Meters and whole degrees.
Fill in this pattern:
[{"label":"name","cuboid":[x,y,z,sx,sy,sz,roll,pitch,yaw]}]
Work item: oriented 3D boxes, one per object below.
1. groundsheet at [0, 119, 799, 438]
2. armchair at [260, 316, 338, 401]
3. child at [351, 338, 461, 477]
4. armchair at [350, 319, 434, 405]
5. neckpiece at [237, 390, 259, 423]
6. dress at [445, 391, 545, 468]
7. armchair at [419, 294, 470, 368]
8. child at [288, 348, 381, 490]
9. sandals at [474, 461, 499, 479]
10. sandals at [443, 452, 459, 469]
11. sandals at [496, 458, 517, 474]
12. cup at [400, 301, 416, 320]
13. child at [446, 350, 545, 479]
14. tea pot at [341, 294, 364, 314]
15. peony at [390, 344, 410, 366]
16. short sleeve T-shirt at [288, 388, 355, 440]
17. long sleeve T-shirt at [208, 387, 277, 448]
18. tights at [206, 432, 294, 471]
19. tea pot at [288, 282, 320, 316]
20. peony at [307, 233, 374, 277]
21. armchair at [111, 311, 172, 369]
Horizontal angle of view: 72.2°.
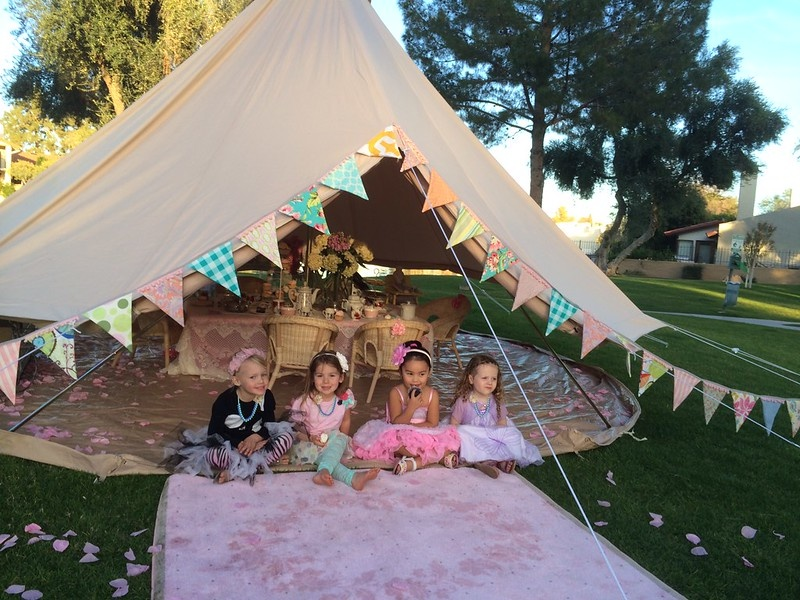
[{"label":"groundsheet","cuboid":[-0.293,-0.069,4.644,4.031,1.739,4.071,0,1,-10]},{"label":"armchair","cuboid":[-0.955,0.485,5.241,0.701,0.853,0.688,2,26,-5]},{"label":"child","cuboid":[0.064,0.759,4.244,0.881,0.910,0.838,3,4,-7]},{"label":"armchair","cuboid":[-0.111,0.592,5.708,0.697,0.892,0.707,9,8,-9]},{"label":"neckpiece","cuboid":[-1.076,0.740,3.849,0.165,0.240,0.069,4,-1,-12]},{"label":"dress","cuboid":[0.671,1.001,4.146,0.544,0.519,0.264,-4,-26,-9]},{"label":"armchair","cuboid":[0.576,0.422,7.224,0.816,0.940,0.899,0,7,-13]},{"label":"child","cuboid":[-0.460,0.827,3.870,0.431,0.897,0.893,2,0,-21]},{"label":"sandals","cuboid":[0.632,1.209,3.965,0.071,0.068,0.182,7,13,-47]},{"label":"sandals","cuboid":[0.374,1.161,3.982,0.078,0.045,0.107,5,7,-8]},{"label":"sandals","cuboid":[0.781,1.200,4.000,0.071,0.058,0.173,6,-2,-18]},{"label":"cup","cuboid":[0.088,0.133,6.067,0.182,0.186,0.125,0,-1,37]},{"label":"child","cuboid":[0.660,0.814,4.314,0.827,0.815,0.761,-3,5,-27]},{"label":"tea pot","cuboid":[-0.510,0.060,5.873,0.222,0.229,0.177,2,-3,-5]},{"label":"peony","cuboid":[-0.026,0.433,4.259,0.063,0.164,0.163,29,-23,-12]},{"label":"short sleeve T-shirt","cuboid":[-0.678,0.908,4.182,0.454,0.281,0.600,5,-10,-14]},{"label":"long sleeve T-shirt","cuboid":[-1.098,0.833,3.845,0.371,0.372,0.206,2,18,-44]},{"label":"tights","cuboid":[-1.057,1.075,3.928,0.601,0.221,0.634,-16,-15,34]},{"label":"tea pot","cuboid":[-1.024,-0.003,5.824,0.359,0.346,0.236,-1,8,-10]},{"label":"peony","cuboid":[-0.707,-0.527,6.150,0.538,0.437,0.545,1,17,-8]},{"label":"armchair","cuboid":[-2.494,0.395,5.297,0.469,0.654,0.432,9,13,-19]}]
